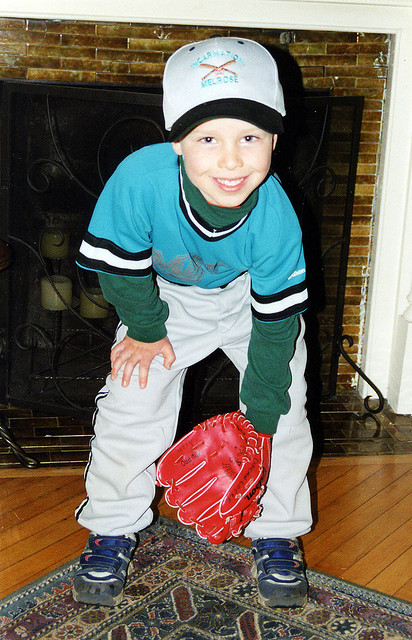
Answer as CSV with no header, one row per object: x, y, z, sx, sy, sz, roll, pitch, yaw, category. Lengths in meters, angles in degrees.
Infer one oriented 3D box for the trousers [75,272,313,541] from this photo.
-0.009,0.251,1.310,0.493,0.555,0.427,23,29,-2,trousers

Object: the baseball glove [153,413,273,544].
0.024,0.262,1.065,0.230,0.187,0.090,-57,13,-31,baseball glove
